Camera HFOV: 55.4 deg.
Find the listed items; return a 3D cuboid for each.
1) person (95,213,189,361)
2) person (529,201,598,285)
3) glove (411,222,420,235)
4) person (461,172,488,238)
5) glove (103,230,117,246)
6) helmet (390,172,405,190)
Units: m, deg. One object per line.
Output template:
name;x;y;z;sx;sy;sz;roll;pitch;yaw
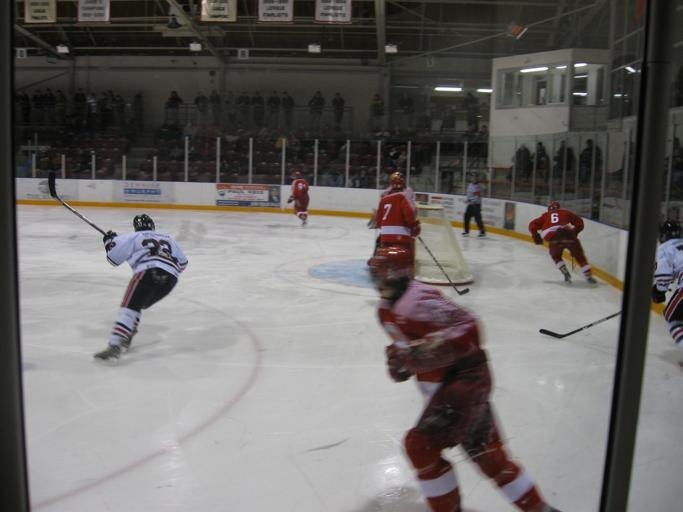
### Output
person;-1.477;0.215;4.760;0.725;0.994;0.406;-5;11;-25
person;2.566;-0.231;7.564;0.672;0.334;1.131;-8;40;1
glove;0.762;-0.272;6.564;0.066;0.144;0.144;5;11;30
person;2.494;-0.907;12.204;0.429;1.163;0.689;1;10;10
glove;-1.758;-0.112;4.960;0.112;0.125;0.132;-8;27;-21
helmet;0.554;-0.752;6.538;0.171;0.152;0.170;0;-4;-1
